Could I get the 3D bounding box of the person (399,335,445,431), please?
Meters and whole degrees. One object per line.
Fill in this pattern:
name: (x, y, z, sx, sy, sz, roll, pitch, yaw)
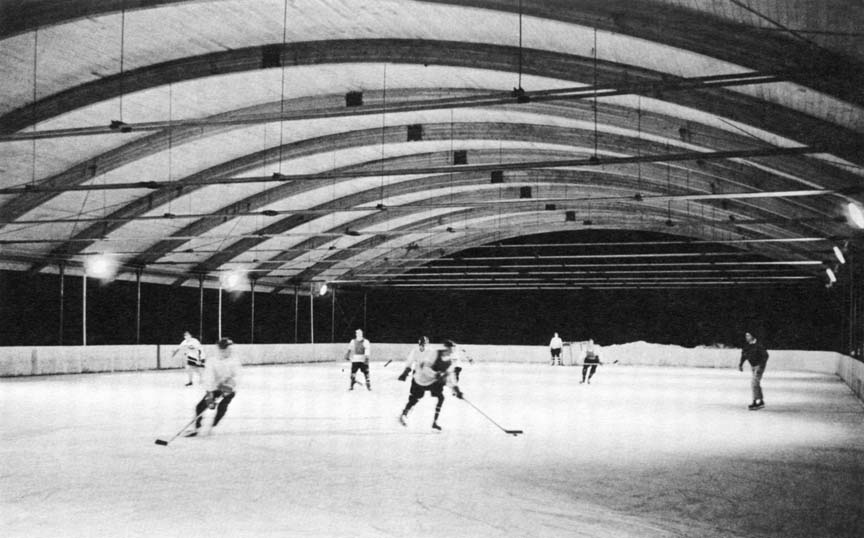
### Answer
person: (-0.189, 3.155, 25.214, 1.419, 2.215, 1.062, -8, -4, -3)
